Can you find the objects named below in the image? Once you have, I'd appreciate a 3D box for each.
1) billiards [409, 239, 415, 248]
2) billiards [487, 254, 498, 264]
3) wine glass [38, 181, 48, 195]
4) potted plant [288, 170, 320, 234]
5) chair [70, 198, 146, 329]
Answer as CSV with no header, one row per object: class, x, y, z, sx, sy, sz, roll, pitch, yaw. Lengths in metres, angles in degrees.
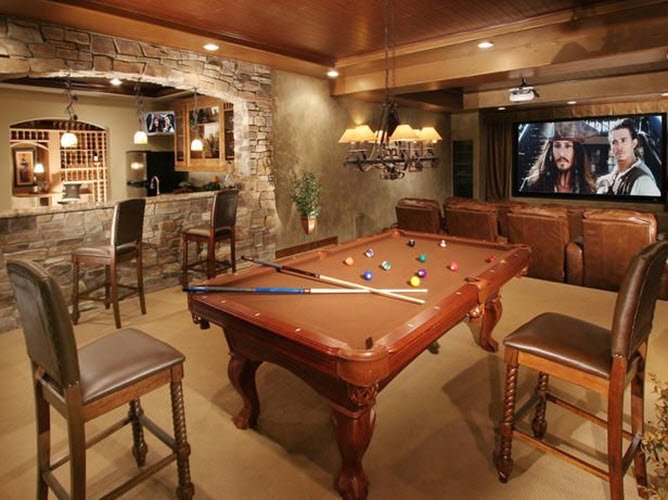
billiards,0.812,-0.073,4.740,0.071,0.065,0.071,-1,-1,31
billiards,1.411,0.079,4.123,0.075,0.028,0.107,3,14,27
wine glass,-6.137,-1.335,9.773,0.106,0.247,0.271,2,13,19
potted plant,-0.408,-0.778,7.508,0.361,0.967,0.431,8,17,38
chair,-2.401,0.078,5.207,0.765,1.546,0.644,1,3,24
